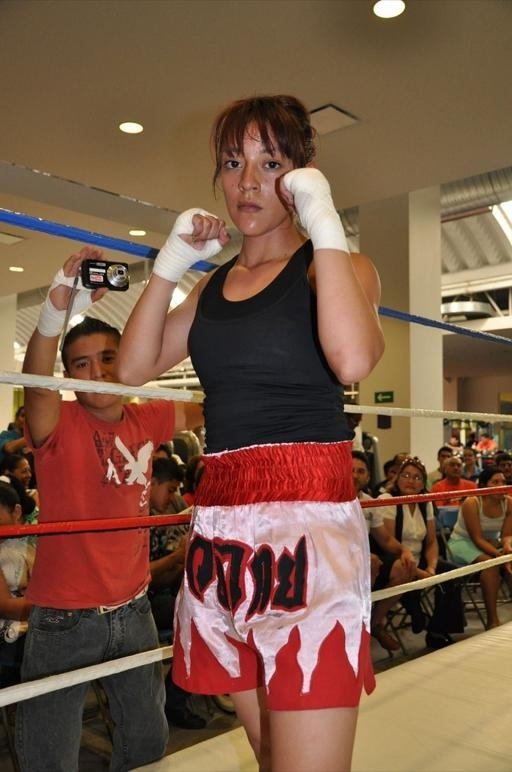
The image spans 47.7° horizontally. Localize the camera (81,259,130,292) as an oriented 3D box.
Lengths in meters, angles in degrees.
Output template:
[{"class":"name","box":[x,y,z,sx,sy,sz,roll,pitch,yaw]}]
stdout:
[{"class":"camera","box":[-0.274,-0.200,1.047,0.081,0.054,0.034,0,-1,-33]}]
